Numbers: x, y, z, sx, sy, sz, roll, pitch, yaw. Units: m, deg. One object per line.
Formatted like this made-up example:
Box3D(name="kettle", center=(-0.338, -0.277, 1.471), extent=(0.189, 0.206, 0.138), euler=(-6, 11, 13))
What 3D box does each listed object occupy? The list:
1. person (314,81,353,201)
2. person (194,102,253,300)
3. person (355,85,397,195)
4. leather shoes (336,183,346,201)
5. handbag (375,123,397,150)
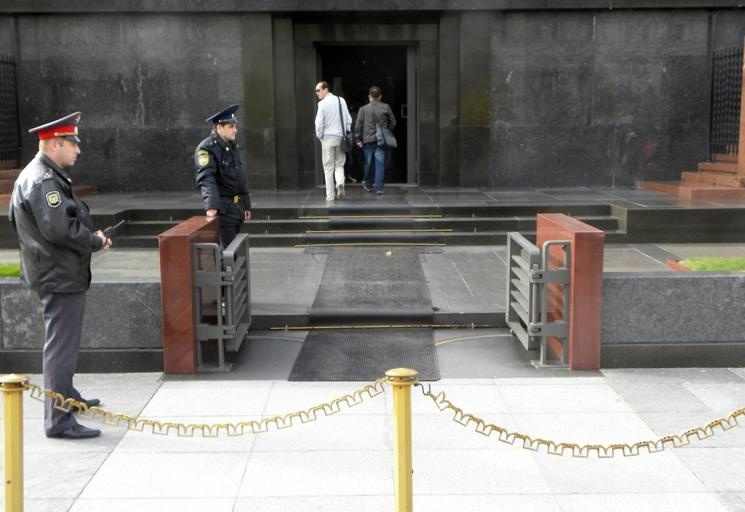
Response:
Box3D(name="person", center=(-0.741, -2.155, 15.923), extent=(0.634, 2.192, 1.000), euler=(-3, 17, -2))
Box3D(name="person", center=(-1.898, -1.003, 10.532), extent=(0.644, 1.719, 0.860), euler=(-6, 17, -10))
Box3D(name="person", center=(0.021, -2.274, 16.710), extent=(0.792, 2.144, 1.327), euler=(-3, 17, 0))
Box3D(name="leather shoes", center=(-0.619, -1.193, 15.944), extent=(0.133, 0.132, 0.320), euler=(-2, -26, -7))
Box3D(name="handbag", center=(0.227, -2.295, 16.121), extent=(0.365, 0.465, 0.242), euler=(-8, 18, -17))
